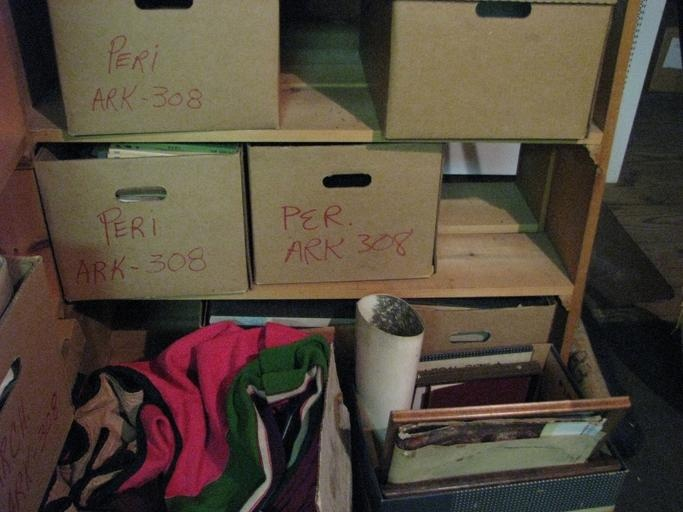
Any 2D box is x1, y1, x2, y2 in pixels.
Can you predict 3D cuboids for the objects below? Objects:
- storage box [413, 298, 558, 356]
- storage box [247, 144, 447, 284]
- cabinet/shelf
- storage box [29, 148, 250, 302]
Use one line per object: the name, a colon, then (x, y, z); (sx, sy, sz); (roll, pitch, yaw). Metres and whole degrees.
storage box: (0.402, 0.190, 1.602); (0.222, 0.080, 0.221); (-2, 11, -1)
storage box: (-0.002, -0.108, 1.432); (0.383, 0.383, 0.233); (-5, 53, -4)
cabinet/shelf: (-0.097, -0.170, 1.409); (1.037, 0.964, 0.436); (0, 37, -5)
storage box: (-0.471, -0.066, 1.400); (0.396, 0.382, 0.305); (-1, -10, -6)
